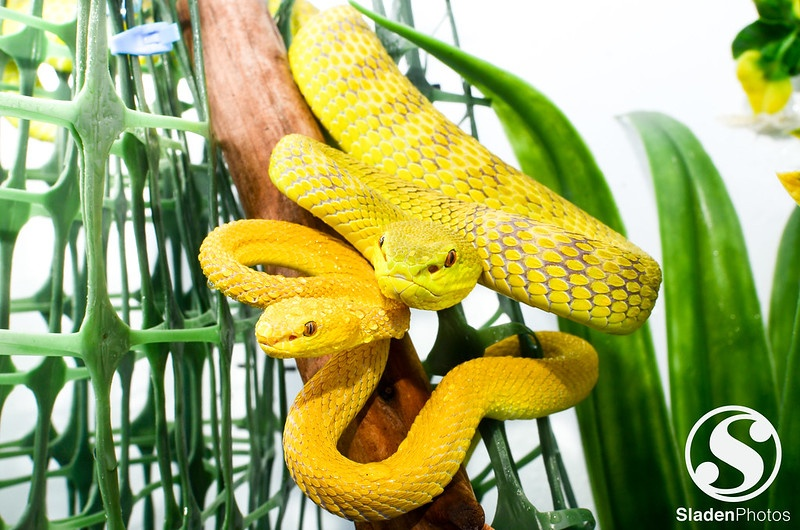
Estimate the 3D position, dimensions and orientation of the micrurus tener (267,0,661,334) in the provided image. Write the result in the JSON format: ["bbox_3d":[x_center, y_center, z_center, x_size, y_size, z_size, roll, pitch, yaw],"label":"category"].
[{"bbox_3d":[0.131,-0.150,1.608,0.189,0.684,0.678,-38,8,14],"label":"micrurus tener"}]
